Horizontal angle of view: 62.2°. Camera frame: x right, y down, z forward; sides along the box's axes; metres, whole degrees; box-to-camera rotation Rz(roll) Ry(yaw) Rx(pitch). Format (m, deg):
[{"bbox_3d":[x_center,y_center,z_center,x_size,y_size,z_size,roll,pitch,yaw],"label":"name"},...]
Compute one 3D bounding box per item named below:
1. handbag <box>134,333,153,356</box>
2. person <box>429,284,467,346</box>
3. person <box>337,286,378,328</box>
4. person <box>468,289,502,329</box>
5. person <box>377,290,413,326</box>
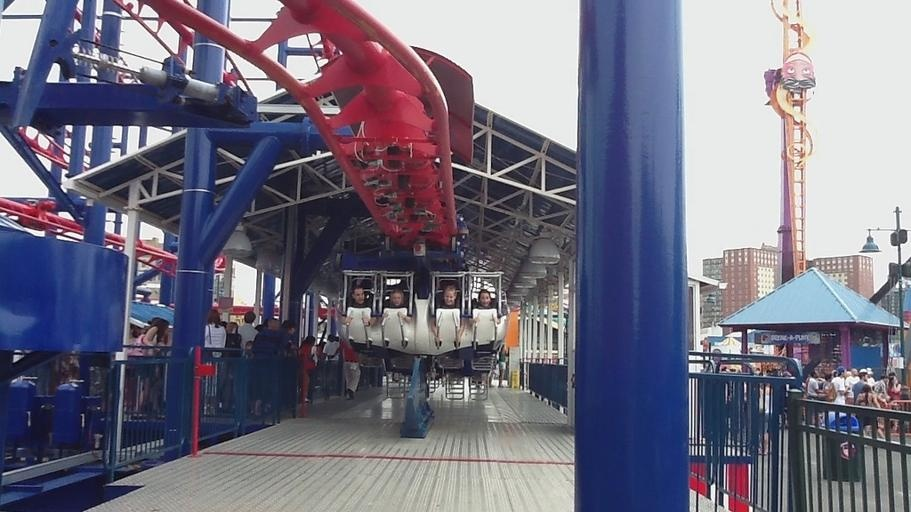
[{"bbox_3d":[-7.197,2.047,17.400,0.486,0.580,0.330,-3,-16,2],"label":"handbag"},{"bbox_3d":[-0.206,1.614,20.011,0.868,1.658,0.721,-1,1,-2],"label":"person"},{"bbox_3d":[-2.561,1.311,20.009,0.983,0.987,1.005,5,12,20],"label":"person"},{"bbox_3d":[0.822,1.468,20.172,0.766,0.990,0.940,0,-26,1],"label":"person"},{"bbox_3d":[-1.547,1.361,19.979,0.736,0.913,0.372,0,-11,-1],"label":"person"}]
